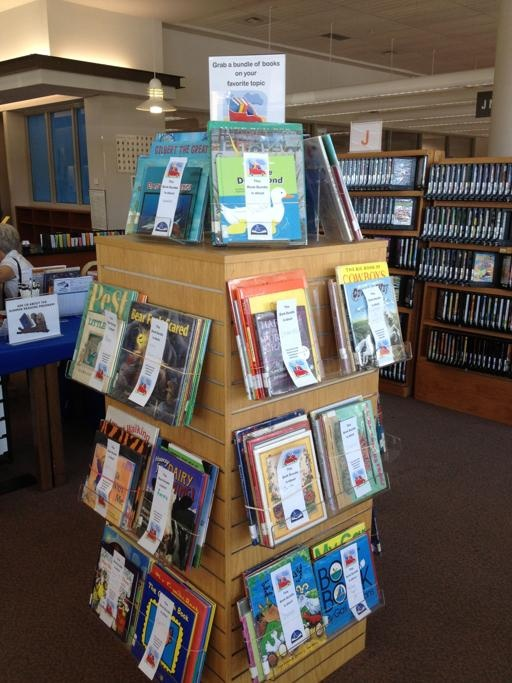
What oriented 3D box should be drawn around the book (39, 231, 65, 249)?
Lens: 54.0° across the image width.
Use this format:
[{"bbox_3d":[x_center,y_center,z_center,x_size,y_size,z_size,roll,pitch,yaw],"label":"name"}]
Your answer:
[{"bbox_3d":[-2.880,-1.385,7.022,0.345,0.200,0.267,0,12,-3],"label":"book"}]
